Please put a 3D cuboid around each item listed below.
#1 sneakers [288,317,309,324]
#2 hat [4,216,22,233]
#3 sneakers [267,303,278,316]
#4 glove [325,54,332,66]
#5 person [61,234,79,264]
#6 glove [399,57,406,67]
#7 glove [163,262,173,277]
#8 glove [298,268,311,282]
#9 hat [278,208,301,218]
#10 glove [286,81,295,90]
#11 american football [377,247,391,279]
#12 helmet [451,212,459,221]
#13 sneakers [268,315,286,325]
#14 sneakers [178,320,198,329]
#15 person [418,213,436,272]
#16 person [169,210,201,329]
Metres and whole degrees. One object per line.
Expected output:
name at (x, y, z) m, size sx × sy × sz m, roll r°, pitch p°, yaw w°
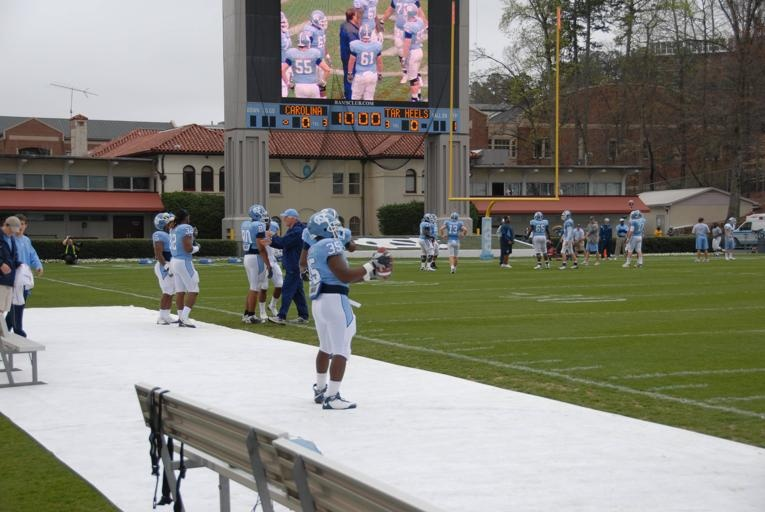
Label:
sneakers at (-2.258, 1.721, 35.048) m, size 0.624 × 0.204 × 0.193 m, roll 3°, pitch -5°, yaw -1°
hat at (-9.229, -0.822, 32.084) m, size 0.483 × 0.261 × 0.338 m, roll 23°, pitch 3°, yaw 10°
sneakers at (-2.932, 1.462, 35.068) m, size 0.190 × 0.199 × 0.486 m, roll 21°, pitch -19°, yaw -10°
glove at (-2.447, -9.210, 60.606) m, size 0.388 × 0.454 × 0.165 m, roll -9°, pitch 0°, yaw -32°
person at (-14.293, -0.295, 59.602) m, size 0.643 × 1.155 × 2.288 m, roll -3°, pitch 4°, yaw -14°
glove at (1.039, -9.270, 61.740) m, size 0.365 × 0.322 × 0.346 m, roll -4°, pitch 9°, yaw -44°
glove at (-5.570, 0.334, 33.990) m, size 0.298 × 0.267 × 0.378 m, roll 5°, pitch -12°, yaw -25°
glove at (-1.902, 0.481, 32.565) m, size 0.280 × 0.287 × 0.705 m, roll 0°, pitch 1°, yaw 0°
hat at (-2.428, -1.152, 34.129) m, size 0.598 × 0.274 × 0.380 m, roll 1°, pitch 0°, yaw 1°
glove at (-4.207, -7.969, 60.298) m, size 0.253 × 0.260 × 0.419 m, roll 9°, pitch 15°, yaw 39°
american football at (0.064, 0.143, 28.103) m, size 0.258 × 0.616 × 0.297 m, roll -1°, pitch 4°, yaw 12°
helmet at (2.778, -1.510, 49.790) m, size 0.421 × 0.420 × 0.514 m, roll 2°, pitch 5°, yaw 7°
sneakers at (-2.774, 1.716, 34.752) m, size 0.540 × 0.223 × 0.185 m, roll 12°, pitch 6°, yaw 18°
sneakers at (-5.121, 1.793, 34.213) m, size 0.551 × 0.205 × 0.172 m, roll 2°, pitch 2°, yaw 1°
person at (1.767, -0.536, 50.312) m, size 0.583 × 2.190 × 1.532 m, roll -2°, pitch 4°, yaw 2°
person at (-5.178, 0.321, 34.183) m, size 0.700 × 3.116 × 1.464 m, roll -3°, pitch 4°, yaw -8°
